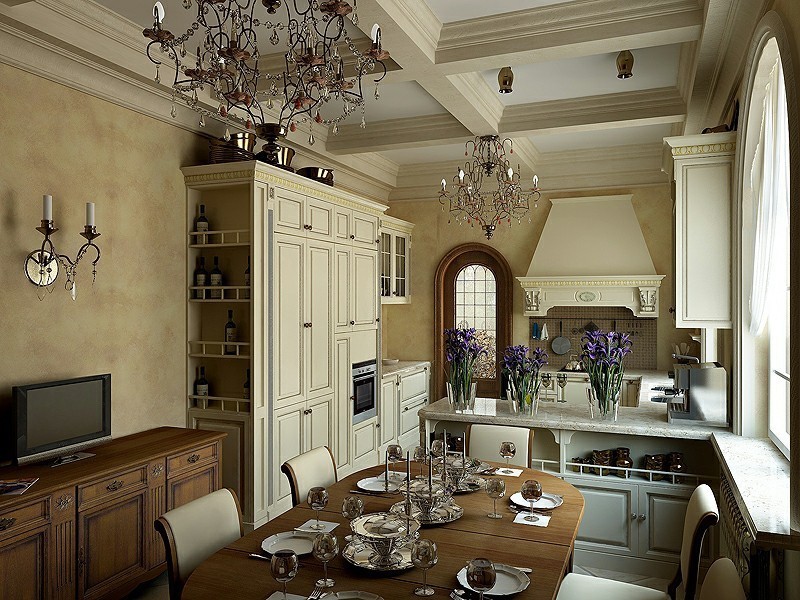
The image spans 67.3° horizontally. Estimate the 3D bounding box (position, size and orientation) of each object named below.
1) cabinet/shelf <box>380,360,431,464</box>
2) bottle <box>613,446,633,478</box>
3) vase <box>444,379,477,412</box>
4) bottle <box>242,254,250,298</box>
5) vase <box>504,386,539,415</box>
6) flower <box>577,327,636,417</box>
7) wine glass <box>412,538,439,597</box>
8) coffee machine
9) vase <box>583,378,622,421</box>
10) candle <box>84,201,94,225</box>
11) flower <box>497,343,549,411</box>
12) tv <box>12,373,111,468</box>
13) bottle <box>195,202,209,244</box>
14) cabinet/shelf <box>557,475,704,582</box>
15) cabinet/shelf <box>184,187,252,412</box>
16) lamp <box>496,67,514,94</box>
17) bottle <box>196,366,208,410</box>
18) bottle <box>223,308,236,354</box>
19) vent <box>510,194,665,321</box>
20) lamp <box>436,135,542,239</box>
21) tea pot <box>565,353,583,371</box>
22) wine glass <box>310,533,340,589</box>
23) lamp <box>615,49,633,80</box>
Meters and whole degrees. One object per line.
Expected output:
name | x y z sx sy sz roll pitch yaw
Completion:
cabinet/shelf | 0.026 1.188 6.393 0.374 0.804 1.093 -1 -2 15
bottle | 1.588 1.158 4.271 0.120 0.175 0.155 -2 9 14
vase | 0.483 0.779 4.832 0.221 0.228 0.214 -3 -7 24
bottle | -1.231 -0.179 4.817 0.075 0.332 0.220 -6 9 -15
vase | 0.944 0.776 4.604 0.193 0.147 0.191 -5 -8 42
flower | 1.532 0.543 4.455 0.334 0.632 0.352 -1 9 19
wine glass | 0.108 1.118 2.619 0.104 0.226 0.249 -4 8 3
coffee machine | 2.139 0.673 4.376 0.348 0.441 0.672 1 -2 25
vase | 1.504 0.759 4.511 0.253 0.274 0.260 -2 -4 7
candle | -2.068 -0.559 3.993 0.058 0.153 0.170 -8 9 -24
flower | 1.018 0.594 4.707 0.444 0.620 0.438 1 -1 -17
tv | -2.151 0.766 3.773 0.088 0.411 0.547 -3 -3 24
bottle | -1.637 -0.620 4.940 0.132 0.333 0.183 -7 9 -18
cabinet/shelf | 1.514 1.477 3.862 0.845 0.754 0.338 0 -5 20
cabinet/shelf | -1.438 -0.007 4.865 0.660 1.797 0.435 0 9 22
lamp | 0.846 -1.739 4.765 0.123 0.232 0.442 -2 9 11
bottle | -1.633 0.714 4.939 0.101 0.309 0.214 -7 9 -19
bottle | -1.370 0.266 4.846 0.121 0.341 0.282 -6 9 -16
vent | 2.274 -0.570 7.194 1.637 1.526 0.478 1 29 19
lamp | 1.083 -1.339 7.160 1.217 1.159 1.191 1 -4 0
tea pot | 2.089 0.766 7.254 0.145 0.217 0.220 1 -5 6
wine glass | -0.332 1.110 2.688 0.111 0.232 0.275 -5 8 -9
lamp | 1.668 -1.746 4.449 0.108 0.219 0.313 -1 9 20
